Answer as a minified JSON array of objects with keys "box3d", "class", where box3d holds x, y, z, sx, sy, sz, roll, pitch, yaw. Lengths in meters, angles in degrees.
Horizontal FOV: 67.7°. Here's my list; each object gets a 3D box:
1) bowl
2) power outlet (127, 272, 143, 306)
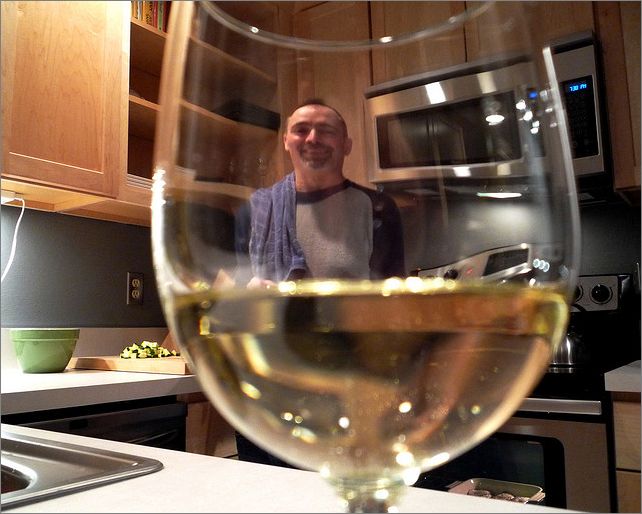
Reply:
[{"box3d":[-0.843,0.281,1.465,0.192,0.143,0.196,2,-3,0],"class":"bowl"},{"box3d":[-0.778,0.139,1.998,0.015,0.136,0.087,-6,-12,23],"class":"power outlet"}]
